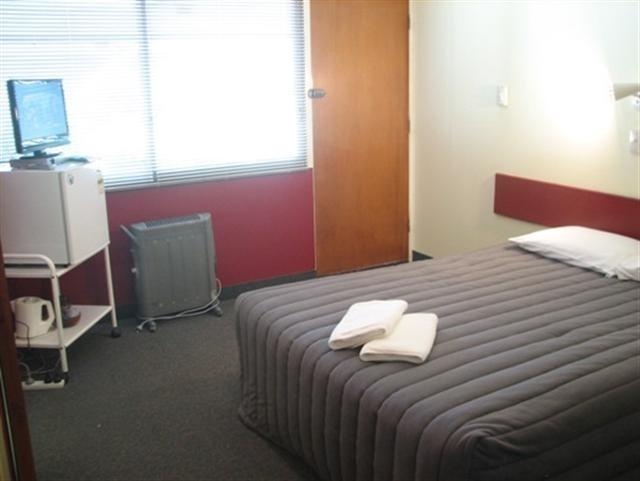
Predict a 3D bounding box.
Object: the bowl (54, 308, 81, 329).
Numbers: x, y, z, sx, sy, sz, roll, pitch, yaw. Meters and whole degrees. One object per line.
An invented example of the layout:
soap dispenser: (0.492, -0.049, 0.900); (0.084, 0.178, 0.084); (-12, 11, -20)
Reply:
bowl: (-1.326, 0.403, 2.671); (0.098, 0.088, 0.098); (0, 3, 0)

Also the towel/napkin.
towel/napkin: (0.236, 0.336, 1.847); (0.247, 0.076, 0.248); (1, 17, 18)

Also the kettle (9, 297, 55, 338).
kettle: (-1.439, 0.378, 2.583); (0.229, 0.217, 0.156); (-1, 7, -22)

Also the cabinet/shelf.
cabinet/shelf: (-1.319, 0.339, 2.558); (0.371, 0.490, 0.481); (6, 25, 7)
